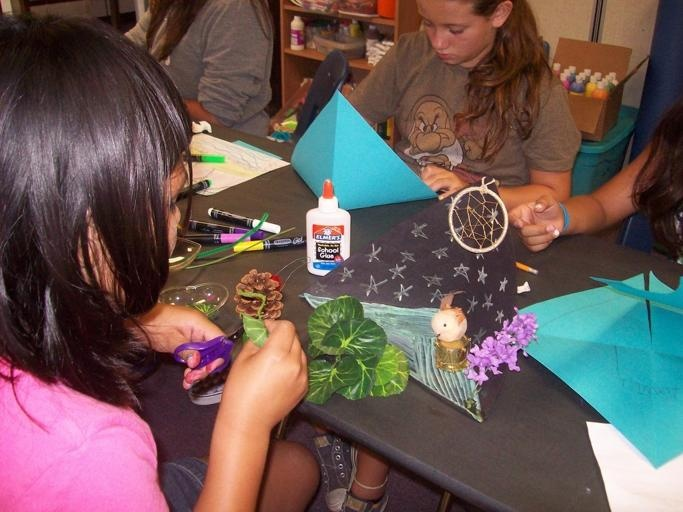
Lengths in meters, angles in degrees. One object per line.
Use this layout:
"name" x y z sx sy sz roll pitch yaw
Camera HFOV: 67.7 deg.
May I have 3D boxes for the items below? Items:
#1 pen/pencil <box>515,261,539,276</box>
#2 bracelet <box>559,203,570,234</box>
"pen/pencil" 0.373 0.027 1.021 0.009 0.007 0.042 -48 52 -8
"bracelet" 0.517 -0.087 1.178 0.021 0.066 0.050 -4 11 17
